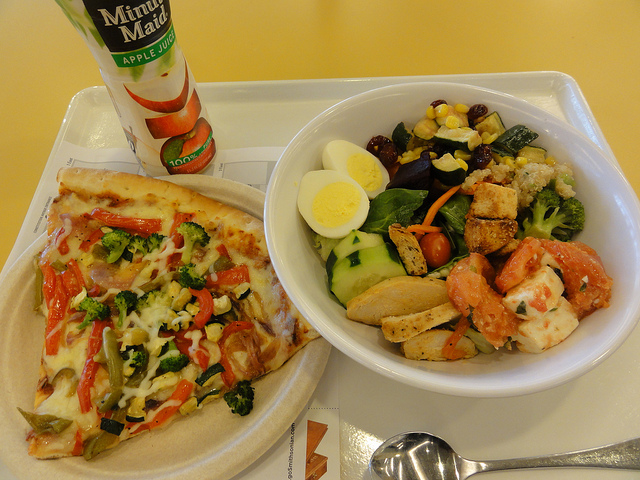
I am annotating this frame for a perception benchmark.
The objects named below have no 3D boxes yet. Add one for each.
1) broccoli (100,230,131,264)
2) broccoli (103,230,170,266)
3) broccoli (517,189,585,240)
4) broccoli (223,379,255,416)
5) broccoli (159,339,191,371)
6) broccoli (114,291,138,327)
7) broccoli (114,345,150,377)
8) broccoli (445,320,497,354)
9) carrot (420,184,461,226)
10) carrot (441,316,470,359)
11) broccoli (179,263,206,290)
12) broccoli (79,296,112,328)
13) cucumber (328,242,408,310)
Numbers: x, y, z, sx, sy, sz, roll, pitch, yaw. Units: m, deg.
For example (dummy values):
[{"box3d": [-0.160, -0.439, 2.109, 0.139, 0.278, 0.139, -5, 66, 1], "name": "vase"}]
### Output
[{"box3d": [-1.358, 0.028, 3.423, 0.185, 0.193, 0.236, -12, 74, -22], "name": "broccoli"}, {"box3d": [-1.248, 0.041, 3.512, 0.333, 0.155, 0.243, 14, 103, -2], "name": "broccoli"}, {"box3d": [1.487, -0.162, 3.308, 0.324, 0.328, 0.237, 37, 53, 13], "name": "broccoli"}, {"box3d": [-0.479, 0.955, 3.085, 0.156, 0.054, 0.186, -11, 68, -2], "name": "broccoli"}, {"box3d": [-0.908, 0.741, 3.211, 0.148, 0.075, 0.180, -9, 68, -9], "name": "broccoli"}, {"box3d": [-1.264, 0.459, 3.367, 0.124, 0.109, 0.225, 16, 72, -11], "name": "broccoli"}, {"box3d": [-1.182, 0.761, 3.213, 0.178, 0.105, 0.202, 16, 71, -6], "name": "broccoli"}, {"box3d": [0.920, 0.591, 3.080, 0.248, 0.159, 0.063, 44, 116, 2], "name": "broccoli"}, {"box3d": [0.812, -0.230, 3.424, 0.056, 0.043, 0.317, 40, 87, -11], "name": "carrot"}, {"box3d": [0.803, 0.603, 3.026, 0.130, 0.061, 0.276, 22, 77, 10], "name": "carrot"}, {"box3d": [-0.840, 0.246, 3.352, 0.134, 0.059, 0.163, -2, 87, -10], "name": "broccoli"}, {"box3d": [-1.453, 0.473, 3.313, 0.176, 0.089, 0.192, 1, 72, -2], "name": "broccoli"}, {"box3d": [0.281, 0.196, 3.149, 0.471, 0.152, 0.262, -23, 74, -10], "name": "cucumber"}]
